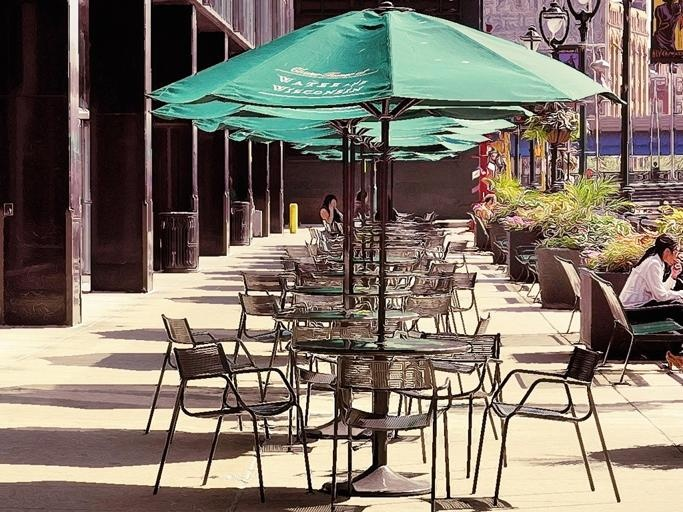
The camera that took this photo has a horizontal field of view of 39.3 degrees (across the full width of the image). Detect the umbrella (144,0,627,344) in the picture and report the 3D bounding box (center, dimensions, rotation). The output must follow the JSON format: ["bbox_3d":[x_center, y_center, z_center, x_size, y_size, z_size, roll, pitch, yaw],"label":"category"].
[{"bbox_3d":[0.614,-1.130,8.422,3.942,2.539,3.940,-1,4,-19],"label":"umbrella"}]

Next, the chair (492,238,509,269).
[{"bbox_3d":[4.341,-0.106,26.515,0.721,0.911,0.671,-1,4,7],"label":"chair"}]

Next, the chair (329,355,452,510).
[{"bbox_3d":[0.357,1.279,7.155,0.842,1.081,1.289,2,-2,1],"label":"chair"}]
